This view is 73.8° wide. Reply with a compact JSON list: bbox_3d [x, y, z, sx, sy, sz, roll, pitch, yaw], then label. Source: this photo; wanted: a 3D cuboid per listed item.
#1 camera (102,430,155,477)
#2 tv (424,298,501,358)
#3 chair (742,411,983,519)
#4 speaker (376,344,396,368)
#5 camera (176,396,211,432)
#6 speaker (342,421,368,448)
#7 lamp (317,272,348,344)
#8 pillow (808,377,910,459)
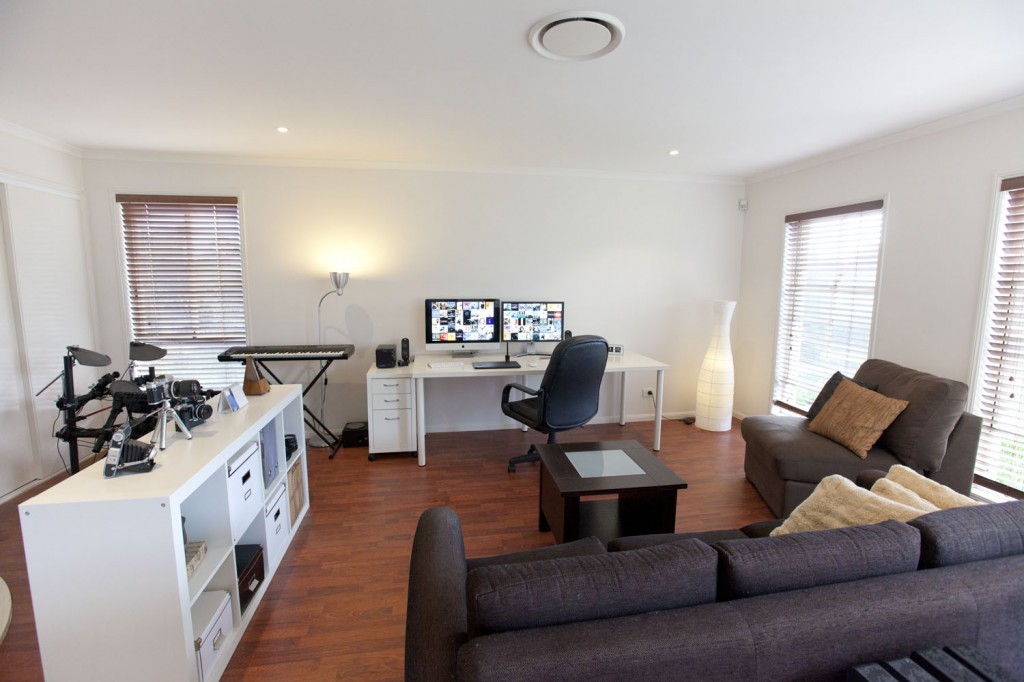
[{"bbox_3d":[-2.077,0.621,3.790,0.200,0.241,0.270,3,22,-16],"label":"camera"},{"bbox_3d":[-0.466,-0.145,6.309,0.575,0.392,0.144,0,11,-7],"label":"tv"},{"bbox_3d":[2.474,0.704,5.159,1.002,0.728,0.990,2,6,18],"label":"chair"},{"bbox_3d":[-1.119,0.151,6.156,0.164,0.187,0.296,0,7,-2],"label":"speaker"},{"bbox_3d":[-1.944,0.433,4.176,0.160,0.206,0.287,1,2,-1],"label":"camera"},{"bbox_3d":[-1.440,0.859,6.303,0.245,0.197,0.254,0,8,-4],"label":"speaker"},{"bbox_3d":[-1.618,-0.307,6.208,0.296,0.648,0.199,-2,8,-16],"label":"lamp"},{"bbox_3d":[2.592,0.583,5.100,0.166,0.507,0.541,35,7,-26],"label":"pillow"}]
